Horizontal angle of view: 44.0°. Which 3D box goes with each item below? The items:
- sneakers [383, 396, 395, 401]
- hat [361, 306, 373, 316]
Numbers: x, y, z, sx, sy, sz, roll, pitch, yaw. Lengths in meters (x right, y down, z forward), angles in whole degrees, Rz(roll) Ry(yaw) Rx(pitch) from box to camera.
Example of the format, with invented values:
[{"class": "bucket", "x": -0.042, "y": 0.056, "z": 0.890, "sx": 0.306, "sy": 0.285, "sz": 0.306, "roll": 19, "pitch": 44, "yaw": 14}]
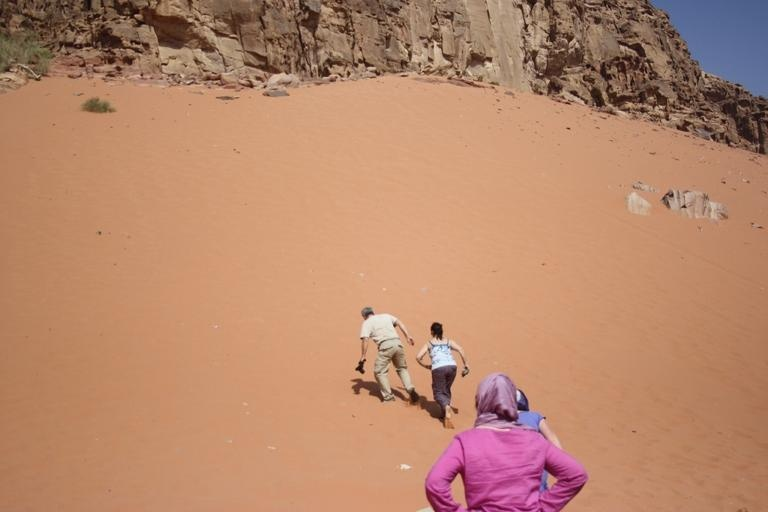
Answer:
[{"class": "sneakers", "x": 0.123, "y": 3.797, "z": 24.988, "sx": 0.185, "sy": 0.058, "sz": 0.147, "roll": -1, "pitch": 7, "yaw": 7}, {"class": "hat", "x": -0.459, "y": 1.495, "z": 25.159, "sx": 0.255, "sy": 0.253, "sz": 0.202, "roll": -13, "pitch": 19, "yaw": -25}]
